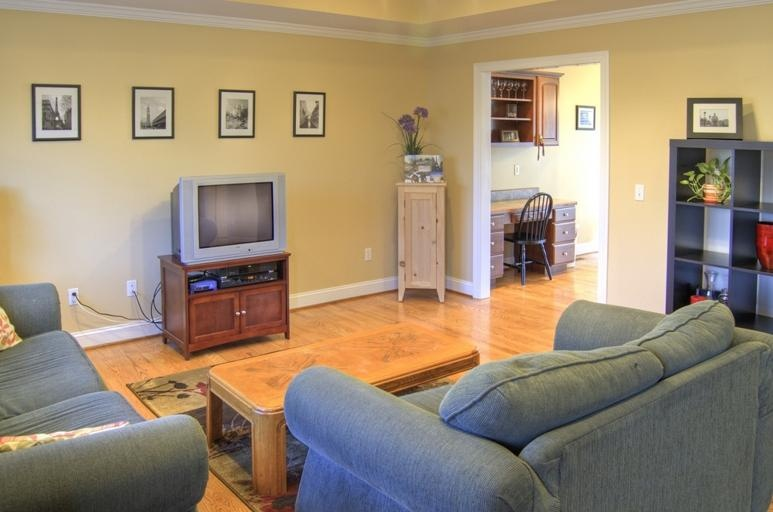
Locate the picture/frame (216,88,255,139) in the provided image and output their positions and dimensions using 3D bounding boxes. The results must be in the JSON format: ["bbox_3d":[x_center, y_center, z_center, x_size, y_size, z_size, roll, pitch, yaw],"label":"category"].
[{"bbox_3d":[-1.482,-1.397,5.488,0.510,0.611,0.040,-3,4,-38],"label":"picture/frame"}]

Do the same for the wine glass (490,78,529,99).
[{"bbox_3d":[1.579,-2.115,7.126,0.627,0.251,0.099,-9,13,-34],"label":"wine glass"}]

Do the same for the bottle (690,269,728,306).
[{"bbox_3d":[2.622,0.256,4.588,0.244,0.235,0.241,-8,12,-28],"label":"bottle"}]

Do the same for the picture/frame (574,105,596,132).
[{"bbox_3d":[2.830,-1.985,8.093,0.393,0.338,0.028,-6,9,-36],"label":"picture/frame"}]

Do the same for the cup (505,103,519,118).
[{"bbox_3d":[1.605,-1.856,7.269,0.183,0.209,0.183,0,8,0],"label":"cup"}]

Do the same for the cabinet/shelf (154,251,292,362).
[{"bbox_3d":[-1.434,0.403,5.196,0.990,0.730,0.548,-8,10,-37],"label":"cabinet/shelf"}]

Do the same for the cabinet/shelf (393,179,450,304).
[{"bbox_3d":[0.317,-0.176,6.426,0.622,1.305,0.491,0,3,-15],"label":"cabinet/shelf"}]

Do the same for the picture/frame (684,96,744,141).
[{"bbox_3d":[2.678,-1.121,4.618,0.105,0.345,0.414,-10,14,-38],"label":"picture/frame"}]

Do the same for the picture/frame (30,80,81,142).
[{"bbox_3d":[-2.786,-1.223,4.728,0.519,0.623,0.040,-3,4,-36],"label":"picture/frame"}]

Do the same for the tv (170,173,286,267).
[{"bbox_3d":[-1.388,-0.355,5.191,1.302,0.999,0.735,-5,8,-35],"label":"tv"}]

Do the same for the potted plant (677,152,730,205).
[{"bbox_3d":[2.675,-0.598,4.720,0.411,0.227,0.443,10,2,21],"label":"potted plant"}]

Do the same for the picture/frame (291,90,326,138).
[{"bbox_3d":[-0.832,-1.488,5.889,0.506,0.585,0.022,-4,7,-39],"label":"picture/frame"}]

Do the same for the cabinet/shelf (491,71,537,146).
[{"bbox_3d":[1.626,-1.976,7.334,0.753,0.691,0.249,-10,14,-28],"label":"cabinet/shelf"}]

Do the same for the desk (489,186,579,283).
[{"bbox_3d":[1.674,-0.224,7.286,1.769,1.137,0.622,-10,13,-34],"label":"desk"}]

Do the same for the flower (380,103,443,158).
[{"bbox_3d":[0.331,-1.440,6.469,0.599,0.573,0.463,-12,15,-44],"label":"flower"}]
